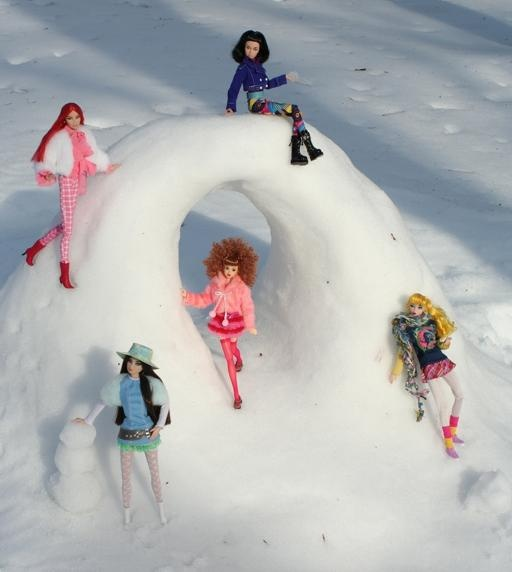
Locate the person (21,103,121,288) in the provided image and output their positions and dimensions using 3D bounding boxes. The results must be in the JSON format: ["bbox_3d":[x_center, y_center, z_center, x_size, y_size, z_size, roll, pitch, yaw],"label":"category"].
[{"bbox_3d":[-1.485,-0.749,5.318,0.643,1.314,0.871,10,32,6],"label":"person"}]

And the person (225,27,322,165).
[{"bbox_3d":[0.107,-1.493,5.359,0.477,0.867,0.947,-18,38,-34],"label":"person"}]

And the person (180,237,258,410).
[{"bbox_3d":[-0.298,0.266,5.666,0.567,1.287,0.748,4,32,-4],"label":"person"}]

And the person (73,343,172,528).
[{"bbox_3d":[-0.889,1.024,4.650,0.583,1.300,0.534,-3,33,-14],"label":"person"}]
